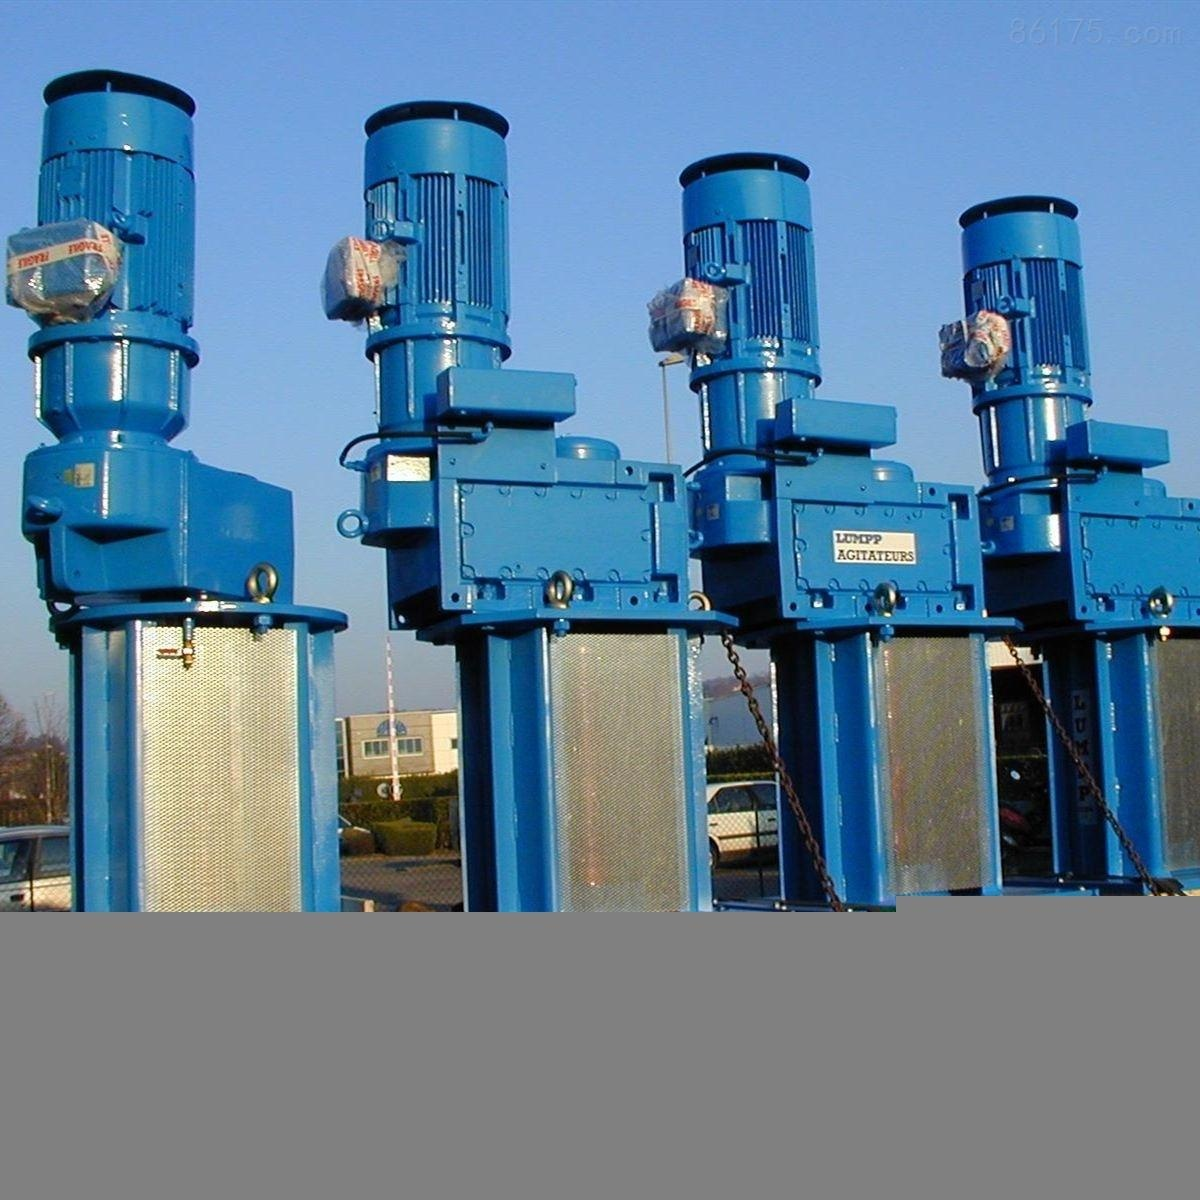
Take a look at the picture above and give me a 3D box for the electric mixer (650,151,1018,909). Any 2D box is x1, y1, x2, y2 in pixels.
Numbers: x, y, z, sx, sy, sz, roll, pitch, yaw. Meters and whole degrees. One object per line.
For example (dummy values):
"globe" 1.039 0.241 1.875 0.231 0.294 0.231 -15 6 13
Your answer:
"electric mixer" 1.694 -0.519 21.129 2.287 5.410 1.682 1 -13 -39

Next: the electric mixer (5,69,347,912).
"electric mixer" -2.656 -0.692 17.998 1.874 5.285 1.263 -2 -3 -10

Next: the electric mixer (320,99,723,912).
"electric mixer" -0.484 -0.530 19.526 2.491 5.673 1.510 0 -13 -16
